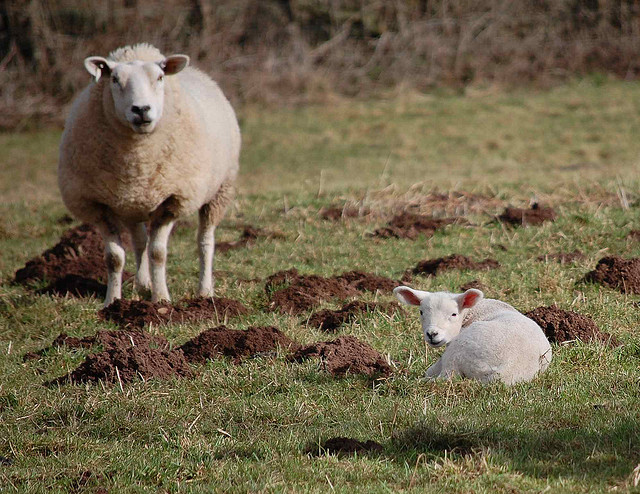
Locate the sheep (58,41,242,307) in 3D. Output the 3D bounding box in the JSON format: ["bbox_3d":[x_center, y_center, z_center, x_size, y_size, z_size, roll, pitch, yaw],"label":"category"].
[{"bbox_3d":[-2.436,-0.928,16.865,2.337,3.604,4.641,1,4,2],"label":"sheep"}]

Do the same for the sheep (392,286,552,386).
[{"bbox_3d":[1.801,1.060,14.078,0.955,0.860,1.620,-1,10,-41],"label":"sheep"}]

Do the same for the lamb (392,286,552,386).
[{"bbox_3d":[1.919,1.030,13.968,1.702,1.014,1.091,4,10,11],"label":"lamb"}]
